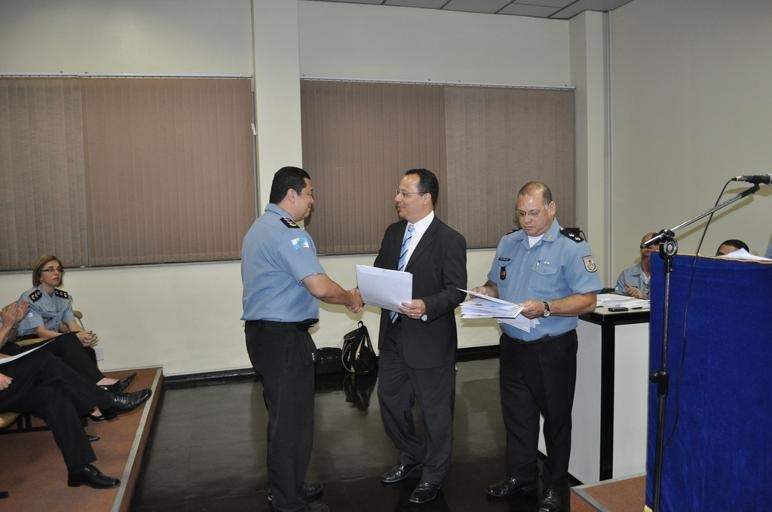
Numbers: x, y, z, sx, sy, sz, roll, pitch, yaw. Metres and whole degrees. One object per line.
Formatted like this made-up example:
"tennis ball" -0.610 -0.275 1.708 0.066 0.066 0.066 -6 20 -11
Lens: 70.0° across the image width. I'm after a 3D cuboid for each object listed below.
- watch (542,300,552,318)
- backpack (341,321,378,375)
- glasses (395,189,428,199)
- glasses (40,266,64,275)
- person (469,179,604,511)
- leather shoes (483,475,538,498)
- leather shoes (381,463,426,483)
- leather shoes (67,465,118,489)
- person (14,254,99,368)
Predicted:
"watch" 1.028 0.348 3.525 0.055 0.092 0.086 -1 37 10
"backpack" -0.334 1.074 6.381 0.299 0.586 0.395 3 1 9
"glasses" 0.163 -0.430 3.836 0.242 0.059 0.097 4 12 27
"glasses" -3.070 0.139 5.078 0.160 0.065 0.062 -9 13 -35
"person" 1.060 0.631 3.797 0.735 2.236 0.599 3 11 21
"leather shoes" 0.883 1.663 4.000 0.389 0.178 0.144 1 -1 -3
"leather shoes" 0.140 1.640 4.238 0.328 0.139 0.123 0 0 -23
"leather shoes" -2.065 1.570 3.960 0.396 0.182 0.150 1 -2 -5
"person" -3.016 0.650 5.130 0.806 1.225 0.491 2 3 14
